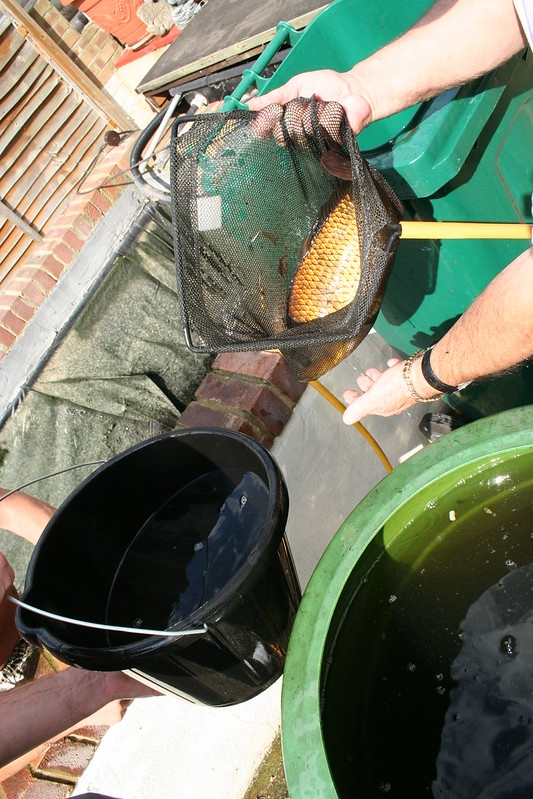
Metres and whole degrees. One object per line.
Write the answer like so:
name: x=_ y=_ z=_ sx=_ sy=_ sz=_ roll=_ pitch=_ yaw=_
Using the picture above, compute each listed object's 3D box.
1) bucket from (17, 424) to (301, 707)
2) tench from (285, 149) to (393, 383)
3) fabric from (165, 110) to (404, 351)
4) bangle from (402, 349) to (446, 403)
bucket: x=-0.149 y=0.372 z=1.243 sx=0.463 sy=0.345 sz=0.456 roll=-19 pitch=42 yaw=18
tench: x=0.148 y=-0.259 z=1.250 sx=0.295 sy=0.138 sz=0.345 roll=-138 pitch=58 yaw=-65
fabric: x=-0.015 y=-0.332 z=1.344 sx=0.397 sy=0.471 sz=0.457 roll=7 pitch=106 yaw=16
bangle: x=0.325 y=-0.052 z=1.356 sx=0.088 sy=0.032 sz=0.103 roll=5 pitch=92 yaw=9
